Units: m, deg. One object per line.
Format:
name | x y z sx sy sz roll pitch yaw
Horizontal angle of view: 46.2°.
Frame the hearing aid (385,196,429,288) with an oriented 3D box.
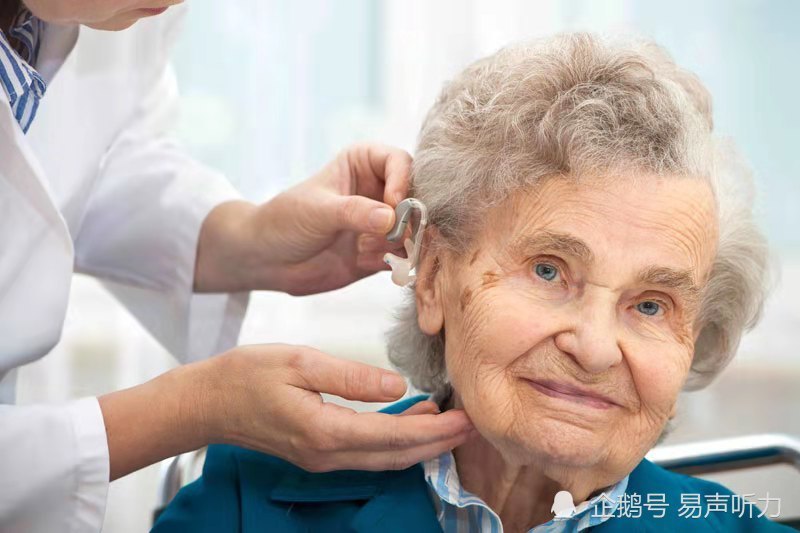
hearing aid | 0.027 -0.072 2.841 0.063 0.246 0.173 12 2 -40
